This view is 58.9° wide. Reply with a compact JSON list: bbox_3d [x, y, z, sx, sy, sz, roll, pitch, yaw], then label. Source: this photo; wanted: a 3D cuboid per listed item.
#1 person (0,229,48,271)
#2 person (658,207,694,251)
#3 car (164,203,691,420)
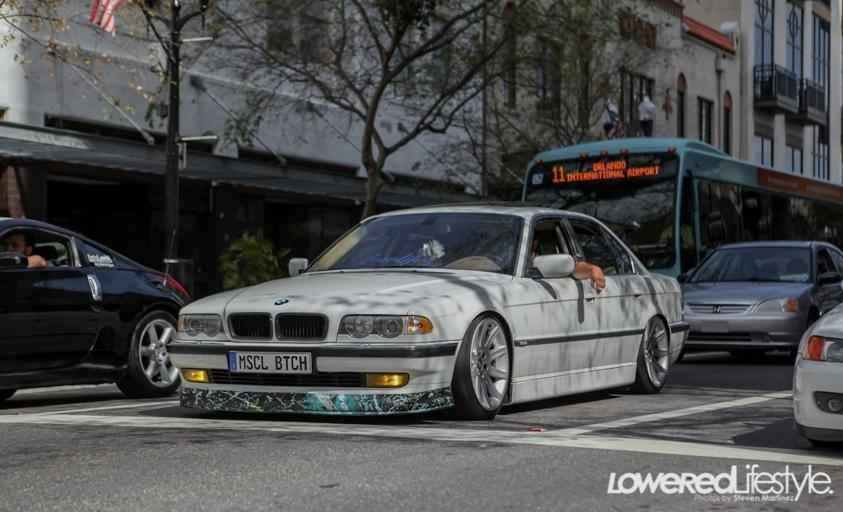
[{"bbox_3d":[-4.705,-0.078,8.826,0.436,0.414,0.922,0,0,-31],"label":"person"},{"bbox_3d":[5.570,-0.590,16.345,0.828,0.797,0.203,-7,7,-29],"label":"person"},{"bbox_3d":[0.299,0.539,8.419,5.624,2.316,2.114,1,1,-36],"label":"car"}]
